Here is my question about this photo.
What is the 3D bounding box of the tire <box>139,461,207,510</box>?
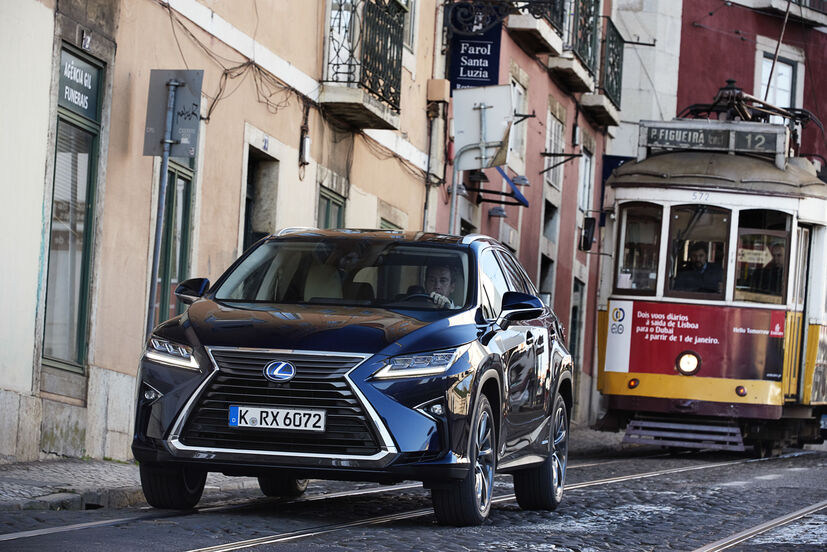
[{"bbox_3d":[-2.106,1.784,11.326,0.198,0.531,0.529,0,4,27],"label":"tire"}]

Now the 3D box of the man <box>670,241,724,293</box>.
[{"bbox_3d":[4.666,-0.106,21.281,1.037,0.909,0.595,-4,-6,7],"label":"man"}]

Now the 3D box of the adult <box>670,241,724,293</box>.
[{"bbox_3d":[4.667,-0.101,21.272,0.979,0.860,0.581,-15,-13,27],"label":"adult"}]

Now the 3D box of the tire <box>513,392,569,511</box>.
[{"bbox_3d":[1.232,1.723,12.957,0.323,0.985,0.976,1,24,26],"label":"tire"}]

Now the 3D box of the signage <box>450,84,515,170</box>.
[{"bbox_3d":[1.134,-2.499,21.854,0.954,1.157,0.110,-4,-12,11],"label":"signage"}]

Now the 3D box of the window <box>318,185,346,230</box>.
[{"bbox_3d":[-1.415,-1.040,21.538,0.070,0.718,0.991,5,13,-29],"label":"window"}]

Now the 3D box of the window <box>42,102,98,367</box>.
[{"bbox_3d":[-3.964,-0.382,15.013,0.456,2.792,1.136,4,13,-14],"label":"window"}]

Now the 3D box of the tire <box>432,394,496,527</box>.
[{"bbox_3d":[0.394,1.530,11.052,0.338,1.072,1.066,-1,8,21],"label":"tire"}]

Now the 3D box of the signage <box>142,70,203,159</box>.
[{"bbox_3d":[-2.748,-1.845,14.765,0.725,0.969,0.670,8,12,5],"label":"signage"}]

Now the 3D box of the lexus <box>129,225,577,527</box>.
[{"bbox_3d":[-0.374,1.080,11.607,4.116,2.696,2.257,-1,15,-33],"label":"lexus"}]
